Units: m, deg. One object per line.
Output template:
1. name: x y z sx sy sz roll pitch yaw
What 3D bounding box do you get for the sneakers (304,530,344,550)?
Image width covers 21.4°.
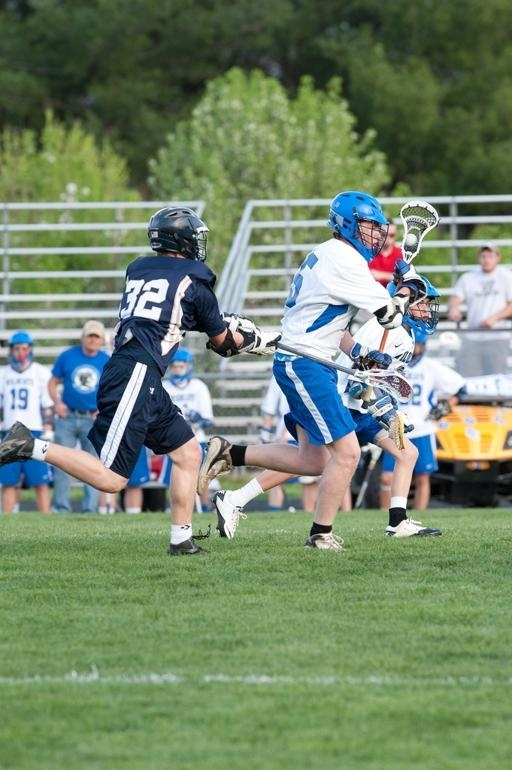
1. sneakers: 0.338 0.811 7.123 0.239 0.087 0.080 1 1 13

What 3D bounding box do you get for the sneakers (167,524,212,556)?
1. sneakers: -0.323 0.818 7.128 0.294 0.176 0.095 -6 11 -39

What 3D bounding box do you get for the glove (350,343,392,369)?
1. glove: 0.610 -0.148 7.168 0.200 0.077 0.127 22 5 17

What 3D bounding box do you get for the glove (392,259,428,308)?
1. glove: 0.826 -0.565 7.383 0.261 0.108 0.158 44 -16 -8

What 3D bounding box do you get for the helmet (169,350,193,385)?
1. helmet: -0.631 -0.161 11.812 0.279 0.310 0.349 1 2 2

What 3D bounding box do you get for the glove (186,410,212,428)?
1. glove: -0.484 0.289 11.720 0.194 0.114 0.068 23 31 12

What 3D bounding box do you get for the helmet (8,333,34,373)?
1. helmet: -2.007 -0.271 11.625 0.244 0.303 0.334 3 -27 -11

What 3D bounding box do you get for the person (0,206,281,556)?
1. person: -0.543 -0.005 6.860 1.340 1.758 0.533 -11 15 -42

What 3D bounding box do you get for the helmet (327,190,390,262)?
1. helmet: 0.485 -0.818 7.066 0.389 0.336 0.286 8 -5 8

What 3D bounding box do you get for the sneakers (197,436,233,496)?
1. sneakers: -0.233 0.441 7.518 0.139 0.373 0.166 30 -12 -7

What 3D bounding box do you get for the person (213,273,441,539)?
1. person: 0.526 0.102 7.786 1.405 1.585 0.873 14 16 8

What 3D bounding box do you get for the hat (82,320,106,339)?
1. hat: -1.375 -0.480 11.635 0.159 0.110 0.241 3 -3 -6

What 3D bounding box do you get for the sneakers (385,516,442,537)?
1. sneakers: 0.882 0.795 7.615 0.329 0.116 0.110 -1 -4 5

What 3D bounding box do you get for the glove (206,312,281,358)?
1. glove: -0.062 -0.257 7.081 0.366 0.147 0.204 0 33 -6

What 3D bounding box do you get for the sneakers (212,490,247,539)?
1. sneakers: -0.154 0.716 7.544 0.179 0.307 0.110 -16 2 5

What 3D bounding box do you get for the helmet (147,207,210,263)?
1. helmet: -0.399 -0.775 6.910 0.324 0.267 0.248 -5 11 -30
